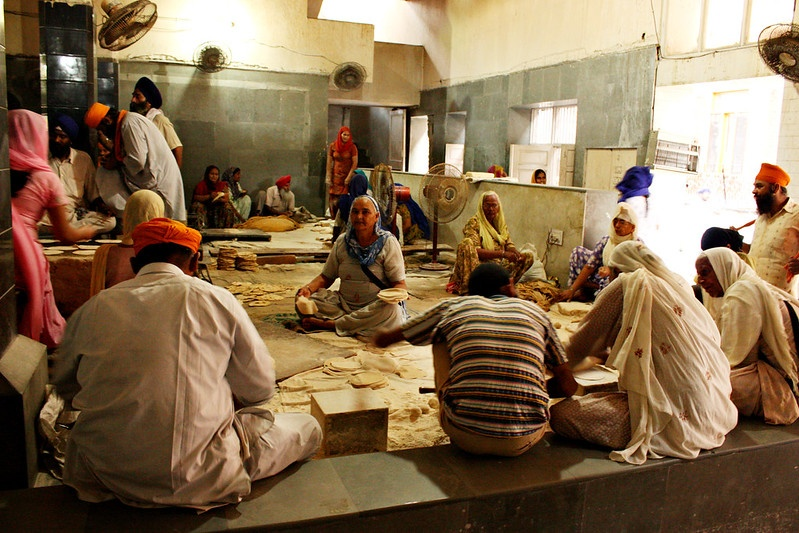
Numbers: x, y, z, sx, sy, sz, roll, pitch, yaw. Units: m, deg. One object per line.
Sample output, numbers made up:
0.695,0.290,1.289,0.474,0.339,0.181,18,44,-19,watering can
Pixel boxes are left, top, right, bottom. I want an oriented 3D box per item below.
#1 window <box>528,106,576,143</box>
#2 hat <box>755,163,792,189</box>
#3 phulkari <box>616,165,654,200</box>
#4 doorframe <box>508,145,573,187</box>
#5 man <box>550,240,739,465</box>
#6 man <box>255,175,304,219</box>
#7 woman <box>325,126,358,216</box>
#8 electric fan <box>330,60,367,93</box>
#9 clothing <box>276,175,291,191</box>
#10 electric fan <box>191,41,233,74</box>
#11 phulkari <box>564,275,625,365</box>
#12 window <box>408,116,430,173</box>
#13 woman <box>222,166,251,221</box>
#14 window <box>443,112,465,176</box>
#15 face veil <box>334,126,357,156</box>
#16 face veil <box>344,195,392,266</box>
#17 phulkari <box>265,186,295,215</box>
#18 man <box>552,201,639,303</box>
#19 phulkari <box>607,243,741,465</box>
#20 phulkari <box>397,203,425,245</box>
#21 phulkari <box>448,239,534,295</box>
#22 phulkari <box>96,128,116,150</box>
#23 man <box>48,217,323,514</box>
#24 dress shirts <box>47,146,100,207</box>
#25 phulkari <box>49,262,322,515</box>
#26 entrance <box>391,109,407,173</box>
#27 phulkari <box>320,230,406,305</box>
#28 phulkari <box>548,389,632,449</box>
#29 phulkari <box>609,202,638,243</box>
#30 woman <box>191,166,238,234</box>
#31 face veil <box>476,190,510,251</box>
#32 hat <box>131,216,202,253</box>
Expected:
3.654,-3.393,13.541,1.438,0.937,0.110,-10,9,-30,window
3.666,-0.906,5.499,0.305,0.174,0.236,20,-4,1,hat
2.953,-1.006,6.964,0.444,0.397,0.412,-3,-5,38,phulkari
3.237,-2.378,13.040,0.711,0.903,2.169,-1,12,-10,doorframe
1.676,0.492,3.748,0.988,1.260,1.268,1,0,42,man
-2.794,-1.627,13.109,0.896,0.985,0.743,9,3,19,man
-1.303,-2.034,12.703,0.740,2.226,0.657,7,23,9,woman
-1.241,-4.590,13.593,0.762,0.652,0.446,-1,13,-7,electric fan
-2.694,-1.929,12.997,0.331,0.302,0.301,-3,13,-17,clothing
-4.166,-4.644,12.450,0.750,0.653,0.654,-3,13,-16,electric fan
1.198,0.324,3.582,0.168,0.453,0.409,32,24,20,phulkari
0.632,-4.086,18.769,0.676,1.790,0.785,1,14,0,window
-3.644,-1.567,12.555,0.648,1.181,0.617,0,10,10,woman
1.733,-3.717,17.227,0.840,1.862,0.186,-4,13,-19,window
-1.271,-2.820,12.600,0.433,0.579,0.836,0,12,-5,face veil
-0.338,-0.261,5.773,0.461,0.514,0.260,0,14,-6,face veil
-2.785,-1.454,13.140,0.815,0.743,0.646,4,-5,-31,phulkari
2.442,-0.176,6.669,0.841,1.157,0.862,16,20,26,man
1.617,0.504,3.337,0.743,1.217,0.701,7,15,23,phulkari
0.172,-0.790,10.824,0.601,0.736,0.272,-9,-7,-20,phulkari
1.193,0.002,7.323,0.907,0.936,0.889,3,1,-25,phulkari
-3.131,-1.357,6.023,0.196,0.238,0.074,-15,18,-7,phulkari
-1.166,0.589,3.275,1.782,1.629,1.290,3,13,1,man
-4.261,-1.094,7.134,0.818,0.728,0.415,-7,25,-35,dress shirts
-1.231,0.592,3.127,1.584,1.156,1.039,3,0,0,phulkari
-0.059,-4.379,19.343,0.358,2.022,0.993,-4,15,-18,entrance
-0.394,-0.002,5.985,0.935,0.784,0.508,6,11,11,phulkari
1.210,0.915,3.525,0.553,0.200,0.439,-1,7,27,phulkari
2.594,-0.487,6.484,0.299,0.470,0.245,6,14,19,phulkari
-3.897,-1.404,11.703,1.389,1.306,1.314,2,11,-1,woman
1.238,-0.583,7.426,0.439,0.867,0.328,-13,33,-12,face veil
-1.289,-0.171,3.040,0.297,0.163,0.386,6,4,41,hat
